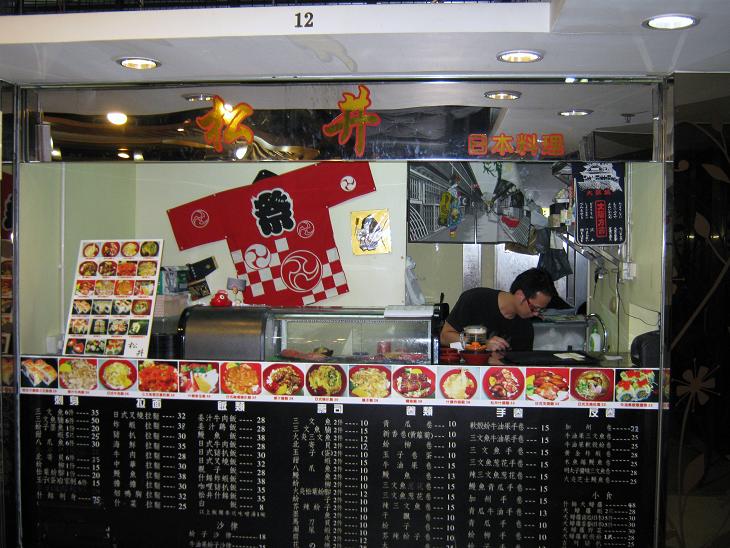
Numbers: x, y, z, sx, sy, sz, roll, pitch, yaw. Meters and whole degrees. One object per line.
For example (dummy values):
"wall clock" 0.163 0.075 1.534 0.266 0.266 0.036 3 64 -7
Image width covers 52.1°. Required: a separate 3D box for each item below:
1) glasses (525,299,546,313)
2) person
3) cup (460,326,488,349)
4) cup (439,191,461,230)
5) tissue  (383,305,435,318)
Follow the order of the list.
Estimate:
"glasses" 1.278 0.248 5.588 0.126 0.129 0.037 3 -40 -30
"person" 0.999 0.263 5.592 0.848 0.615 0.900 -2 -2 14
"cup" 0.698 0.399 4.727 0.137 0.144 0.120 -1 0 13
"cup" 0.672 -0.486 5.897 0.177 0.296 0.091 -2 -2 7
"tissue " 0.286 0.238 4.781 0.315 0.071 0.214 -2 -2 3
